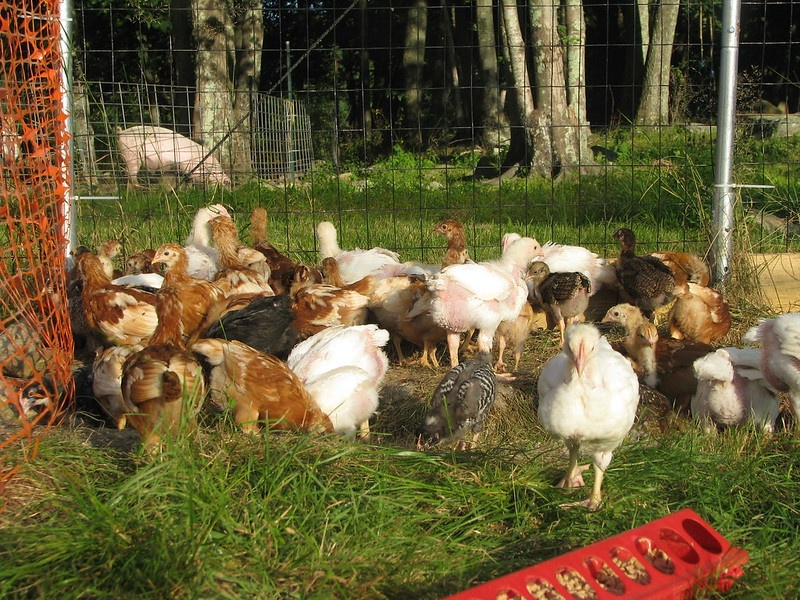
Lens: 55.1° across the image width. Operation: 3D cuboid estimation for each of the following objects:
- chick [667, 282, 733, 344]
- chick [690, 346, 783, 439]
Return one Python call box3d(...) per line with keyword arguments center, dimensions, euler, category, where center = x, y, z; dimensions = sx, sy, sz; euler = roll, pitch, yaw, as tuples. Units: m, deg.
box3d(center=(2.770, 0.074, 7.394), dimensions=(0.501, 0.627, 0.775), euler=(4, 9, 12), category="chick")
box3d(center=(2.490, 0.609, 5.982), dimensions=(0.580, 0.721, 0.796), euler=(2, 7, 18), category="chick")
